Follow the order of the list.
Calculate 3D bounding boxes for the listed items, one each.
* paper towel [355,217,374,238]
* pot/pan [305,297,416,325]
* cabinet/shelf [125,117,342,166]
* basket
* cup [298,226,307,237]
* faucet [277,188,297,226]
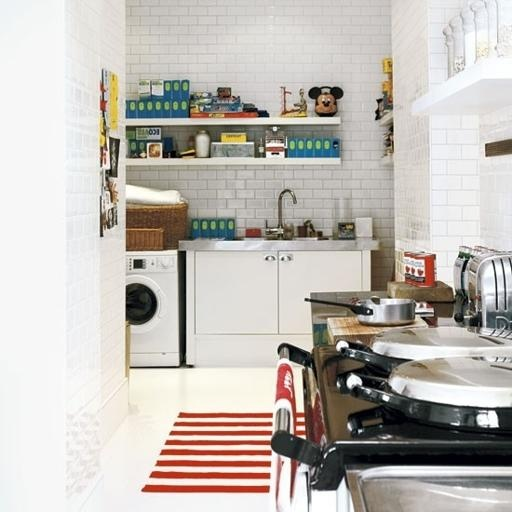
[{"bbox_3d":[1.076,-0.281,4.843,0.188,0.281,0.183,0,-3,2],"label":"paper towel"},{"bbox_3d":[0.415,0.193,1.740,0.282,0.101,0.166,-2,0,1],"label":"pot/pan"},{"bbox_3d":[-0.205,-1.169,4.972,2.172,0.484,0.320,-1,2,0],"label":"cabinet/shelf"},{"bbox_3d":[-0.945,-0.277,4.699,0.531,0.453,0.524,0,2,3],"label":"basket"},{"bbox_3d":[0.470,-0.253,4.944,0.090,0.107,0.093,-1,0,0],"label":"cup"},{"bbox_3d":[0.323,-0.509,5.027,0.210,0.422,0.317,-1,3,3],"label":"faucet"}]
